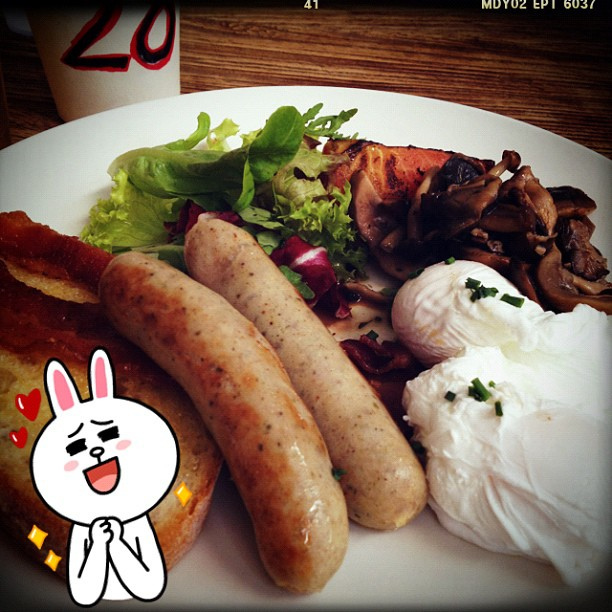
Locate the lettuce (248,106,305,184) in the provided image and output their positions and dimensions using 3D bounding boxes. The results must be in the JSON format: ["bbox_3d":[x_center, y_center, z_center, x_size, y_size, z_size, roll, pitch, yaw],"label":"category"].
[{"bbox_3d":[-0.074,-0.381,1.513,0.132,0.207,0.066,-10,56,-12],"label":"lettuce"}]

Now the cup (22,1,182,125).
[{"bbox_3d":[-0.477,-0.679,1.784,0.478,0.279,0.351,4,32,8],"label":"cup"}]

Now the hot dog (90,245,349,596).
[{"bbox_3d":[-0.127,0.152,1.285,0.322,0.209,0.831,-34,64,-10],"label":"hot dog"}]

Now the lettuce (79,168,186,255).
[{"bbox_3d":[-0.444,-0.221,1.597,0.314,0.111,0.219,-14,70,4],"label":"lettuce"}]
